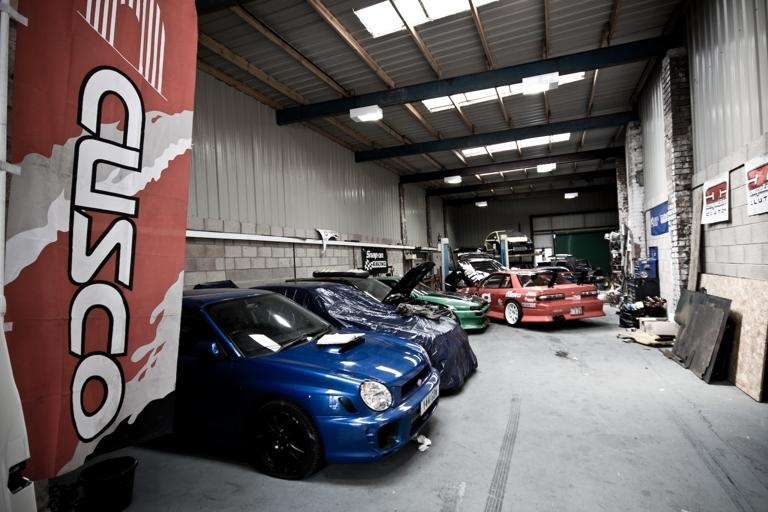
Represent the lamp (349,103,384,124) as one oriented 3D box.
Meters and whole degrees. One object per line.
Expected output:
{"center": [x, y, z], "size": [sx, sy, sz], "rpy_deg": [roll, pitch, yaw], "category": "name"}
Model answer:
{"center": [-0.402, -3.267, 9.955], "size": [0.748, 0.226, 0.515], "rpy_deg": [-5, -1, 16], "category": "lamp"}
